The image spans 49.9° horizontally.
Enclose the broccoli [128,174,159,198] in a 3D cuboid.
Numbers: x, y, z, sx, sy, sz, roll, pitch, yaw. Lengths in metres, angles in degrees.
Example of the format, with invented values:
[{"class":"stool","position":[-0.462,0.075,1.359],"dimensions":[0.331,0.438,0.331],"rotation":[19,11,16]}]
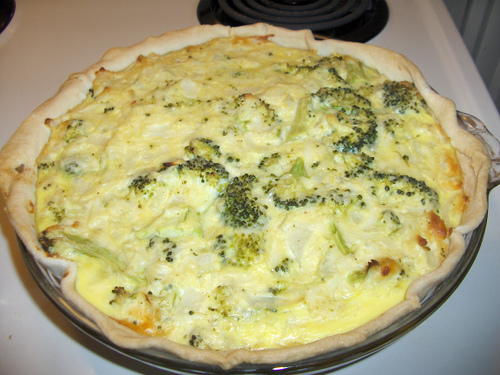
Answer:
[{"class":"broccoli","position":[-0.549,0.003,2.767],"dimensions":[0.131,0.057,0.137],"rotation":[36,69,17]}]

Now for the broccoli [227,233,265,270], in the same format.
[{"class":"broccoli","position":[-0.023,0.299,2.630],"dimensions":[0.149,0.043,0.185],"rotation":[10,63,6]}]

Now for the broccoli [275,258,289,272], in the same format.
[{"class":"broccoli","position":[0.154,0.375,2.611],"dimensions":[0.054,0.015,0.051],"rotation":[-3,67,-8]}]

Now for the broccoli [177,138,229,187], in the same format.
[{"class":"broccoli","position":[-0.275,-0.118,2.820],"dimensions":[0.269,0.370,0.080],"rotation":[-3,65,5]}]

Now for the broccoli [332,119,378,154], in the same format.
[{"class":"broccoli","position":[0.568,-0.250,2.868],"dimensions":[0.233,0.043,0.150],"rotation":[-29,68,-6]}]

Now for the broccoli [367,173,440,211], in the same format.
[{"class":"broccoli","position":[0.724,0.001,2.749],"dimensions":[0.204,0.070,0.416],"rotation":[5,19,1]}]

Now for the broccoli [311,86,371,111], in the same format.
[{"class":"broccoli","position":[0.511,-0.513,3.065],"dimensions":[0.231,0.051,0.163],"rotation":[20,42,16]}]

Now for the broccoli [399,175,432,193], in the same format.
[{"class":"broccoli","position":[0.833,-0.016,2.740],"dimensions":[0.097,0.022,0.036],"rotation":[40,30,20]}]

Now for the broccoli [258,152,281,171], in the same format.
[{"class":"broccoli","position":[0.101,-0.139,2.851],"dimensions":[0.123,0.026,0.074],"rotation":[-39,70,-1]}]
